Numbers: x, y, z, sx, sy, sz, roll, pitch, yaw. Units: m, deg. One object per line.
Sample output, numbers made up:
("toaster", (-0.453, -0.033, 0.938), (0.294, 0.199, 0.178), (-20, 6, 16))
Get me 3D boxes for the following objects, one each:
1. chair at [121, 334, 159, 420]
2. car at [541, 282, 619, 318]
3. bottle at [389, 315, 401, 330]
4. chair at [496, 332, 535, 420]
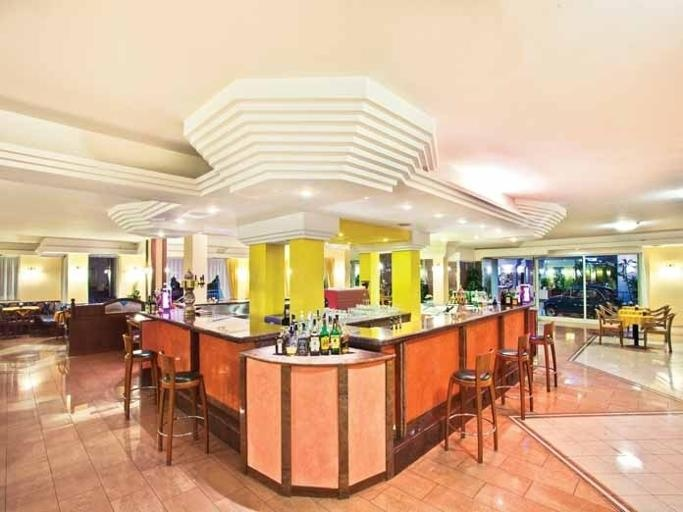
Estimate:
("chair", (-2.952, 1.733, 6.869), (0.463, 1.163, 0.435), (0, 0, -23))
("car", (7.890, 1.508, 15.419), (1.547, 0.753, 0.916), (3, 1, 39))
("bottle", (0.891, 1.104, 7.801), (0.291, 0.285, 0.075), (3, -15, -32))
("chair", (2.582, 1.782, 7.000), (0.689, 1.143, 0.731), (0, -3, 19))
